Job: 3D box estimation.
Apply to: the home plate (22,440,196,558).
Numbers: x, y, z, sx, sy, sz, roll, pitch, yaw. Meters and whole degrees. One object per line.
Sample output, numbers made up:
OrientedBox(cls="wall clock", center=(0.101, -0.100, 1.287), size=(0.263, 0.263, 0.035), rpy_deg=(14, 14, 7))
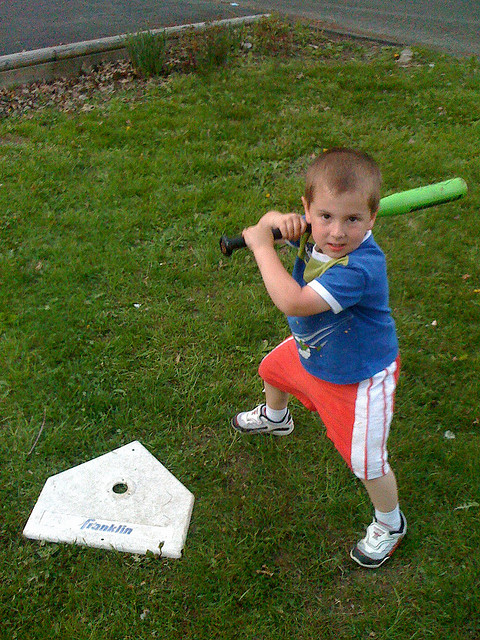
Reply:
OrientedBox(cls="home plate", center=(-0.498, 0.739, 2.678), size=(0.626, 0.183, 0.483), rpy_deg=(-1, 22, 10))
